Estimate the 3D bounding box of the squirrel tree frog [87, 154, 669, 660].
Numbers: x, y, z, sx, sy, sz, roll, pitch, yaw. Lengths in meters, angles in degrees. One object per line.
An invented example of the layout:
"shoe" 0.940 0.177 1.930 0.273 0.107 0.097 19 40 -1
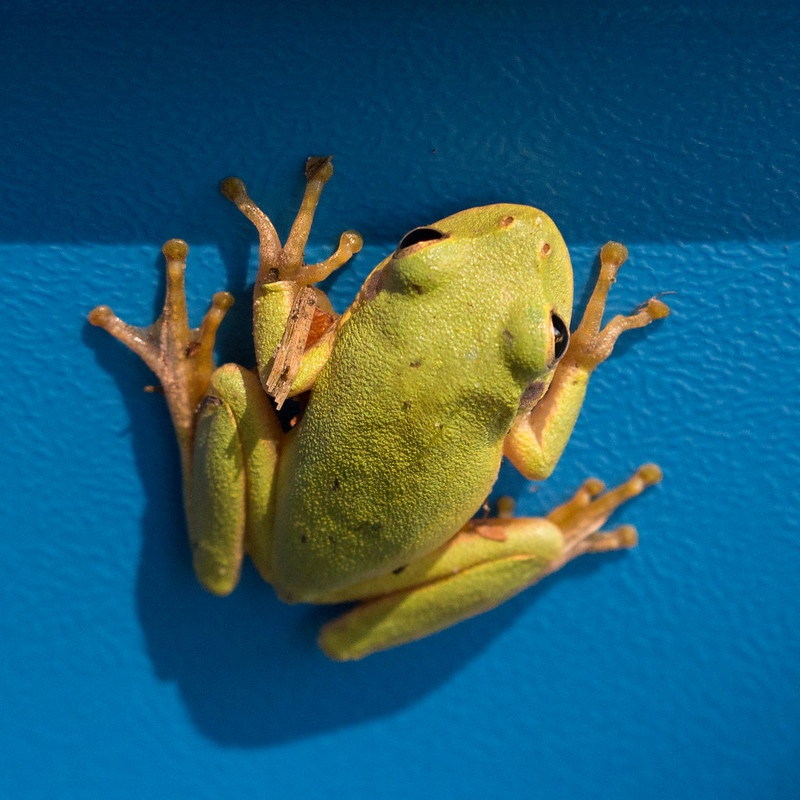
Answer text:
"squirrel tree frog" -0.088 0.111 2.805 0.901 1.378 1.254 -9 38 -8
